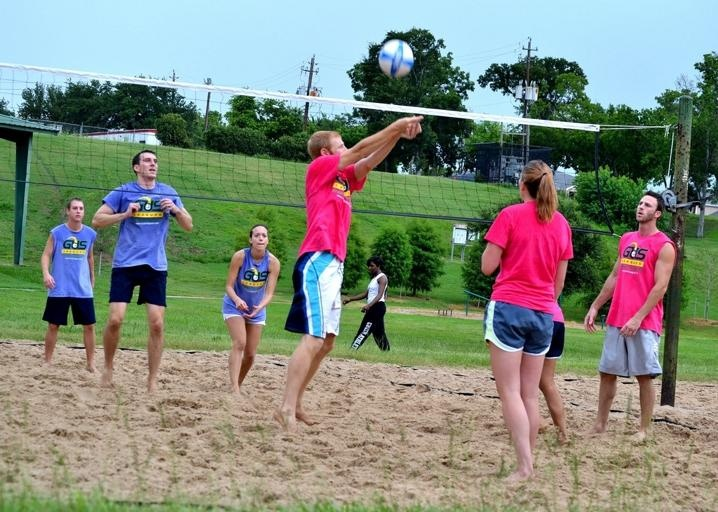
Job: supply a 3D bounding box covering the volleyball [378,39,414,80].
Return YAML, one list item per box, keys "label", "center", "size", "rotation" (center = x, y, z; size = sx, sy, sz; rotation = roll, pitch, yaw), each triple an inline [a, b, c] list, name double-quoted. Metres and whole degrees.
- label: "volleyball"
  center: [0.368, -2.099, 9.375]
  size: [0.416, 0.471, 0.406]
  rotation: [-2, 10, -14]

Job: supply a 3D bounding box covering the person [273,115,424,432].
- label: "person"
  center: [-0.244, 0.191, 8.729]
  size: [1.049, 3.039, 0.915]
  rotation: [2, 5, -4]

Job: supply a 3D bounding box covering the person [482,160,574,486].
- label: "person"
  center: [1.533, 0.541, 8.119]
  size: [0.582, 2.844, 0.783]
  rotation: [5, 6, 33]

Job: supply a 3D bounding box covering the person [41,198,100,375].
- label: "person"
  center: [-3.499, 0.300, 10.572]
  size: [0.635, 1.993, 1.292]
  rotation: [1, 5, -19]

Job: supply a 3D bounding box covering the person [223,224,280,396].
- label: "person"
  center: [-1.241, 0.582, 9.820]
  size: [0.592, 1.878, 0.619]
  rotation: [3, 5, 5]

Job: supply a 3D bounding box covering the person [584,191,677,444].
- label: "person"
  center: [2.865, 0.597, 9.038]
  size: [0.678, 2.516, 0.538]
  rotation: [4, 5, 18]

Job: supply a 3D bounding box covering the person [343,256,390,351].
- label: "person"
  center: [0.111, 0.994, 18.830]
  size: [0.924, 0.581, 1.672]
  rotation: [15, 45, -5]

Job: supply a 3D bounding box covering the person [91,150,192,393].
- label: "person"
  center: [-2.416, 0.143, 9.615]
  size: [0.976, 2.604, 0.615]
  rotation: [1, 5, -12]
